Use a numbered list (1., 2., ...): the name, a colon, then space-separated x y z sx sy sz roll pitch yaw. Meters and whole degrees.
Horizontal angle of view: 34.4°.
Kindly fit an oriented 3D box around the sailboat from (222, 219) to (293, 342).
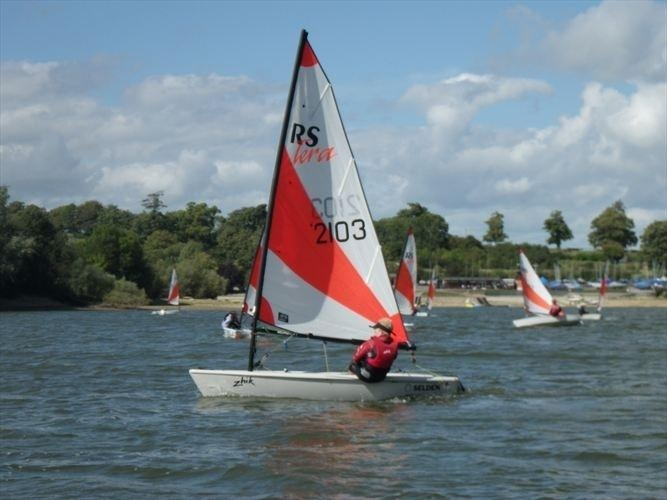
1. sailboat: -4.637 2.934 54.772 2.700 8.649 2.807 -8 -3 27

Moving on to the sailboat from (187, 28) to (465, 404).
1. sailboat: -0.419 -0.893 37.177 6.757 12.256 1.729 1 7 5
